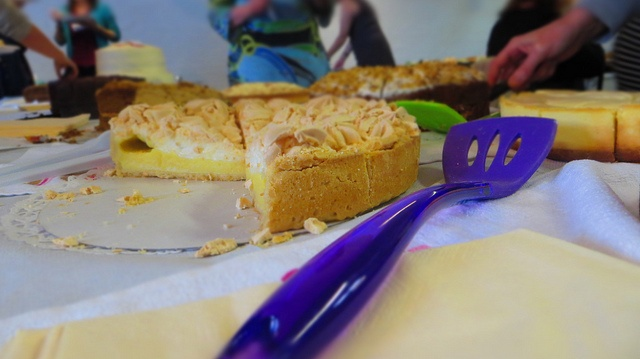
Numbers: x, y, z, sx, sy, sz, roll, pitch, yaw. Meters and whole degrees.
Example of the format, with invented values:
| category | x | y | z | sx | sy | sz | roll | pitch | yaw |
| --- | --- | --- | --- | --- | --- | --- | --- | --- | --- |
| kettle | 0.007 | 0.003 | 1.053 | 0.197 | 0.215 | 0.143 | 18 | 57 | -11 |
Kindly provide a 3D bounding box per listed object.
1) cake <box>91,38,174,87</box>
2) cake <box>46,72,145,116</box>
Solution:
| category | x | y | z | sx | sy | sz | roll | pitch | yaw |
| --- | --- | --- | --- | --- | --- | --- | --- | --- | --- |
| cake | -1.618 | -0.972 | 4.175 | 0.518 | 0.509 | 0.271 | 5 | 99 | 30 |
| cake | -1.465 | -0.551 | 3.165 | 0.665 | 0.482 | 0.286 | -2 | 99 | -7 |
